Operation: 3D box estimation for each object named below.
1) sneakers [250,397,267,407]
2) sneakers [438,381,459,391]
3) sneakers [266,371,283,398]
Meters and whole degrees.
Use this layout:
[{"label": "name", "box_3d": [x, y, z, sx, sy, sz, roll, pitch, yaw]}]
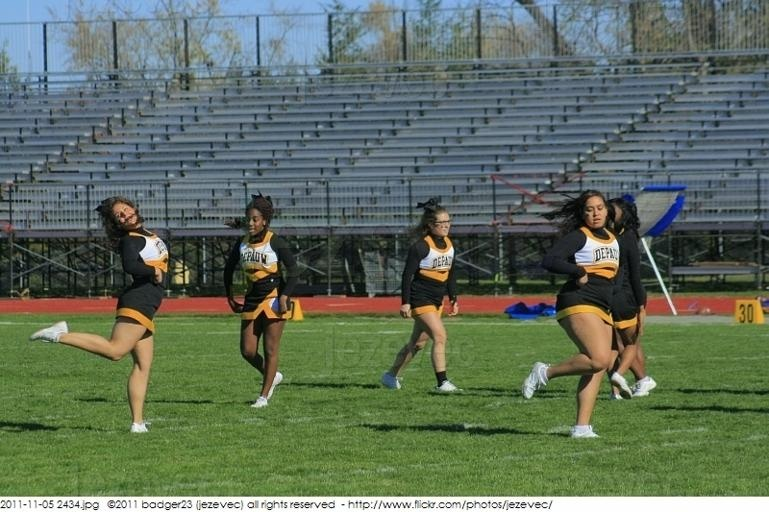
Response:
[{"label": "sneakers", "box_3d": [-2.982, 3.503, 34.655, 0.202, 0.137, 0.369, 2, 1, 39]}, {"label": "sneakers", "box_3d": [1.519, 3.192, 35.466, 0.539, 0.194, 0.209, 1, 4, 5]}, {"label": "sneakers", "box_3d": [-2.712, 3.080, 35.022, 0.247, 0.623, 0.283, 21, -18, 11]}]
